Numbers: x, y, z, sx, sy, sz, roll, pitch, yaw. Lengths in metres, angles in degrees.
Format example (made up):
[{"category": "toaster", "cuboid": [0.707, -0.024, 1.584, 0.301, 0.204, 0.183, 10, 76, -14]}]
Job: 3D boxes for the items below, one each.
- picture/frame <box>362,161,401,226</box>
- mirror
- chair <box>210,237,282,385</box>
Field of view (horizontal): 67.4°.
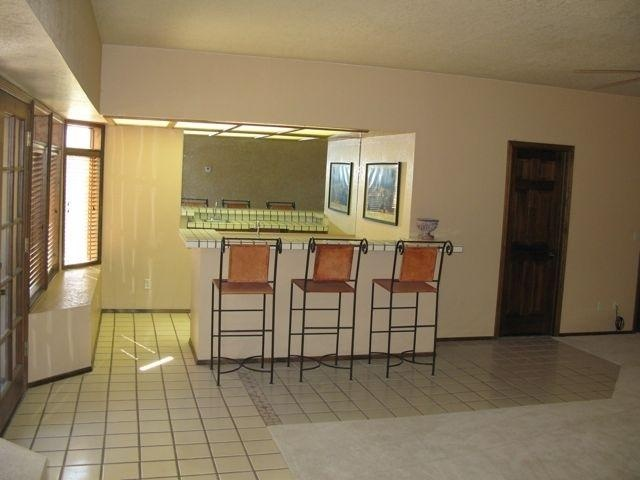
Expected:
[{"category": "picture/frame", "cuboid": [0.824, -0.614, 6.306, 0.502, 0.783, 0.141, 9, 10, 35]}, {"category": "mirror", "cuboid": [-0.738, -0.718, 7.496, 2.451, 1.230, 2.404, 2, 0, -9]}, {"category": "chair", "cuboid": [-0.754, 0.681, 4.937, 0.730, 1.454, 0.786, 2, 8, -11]}]
